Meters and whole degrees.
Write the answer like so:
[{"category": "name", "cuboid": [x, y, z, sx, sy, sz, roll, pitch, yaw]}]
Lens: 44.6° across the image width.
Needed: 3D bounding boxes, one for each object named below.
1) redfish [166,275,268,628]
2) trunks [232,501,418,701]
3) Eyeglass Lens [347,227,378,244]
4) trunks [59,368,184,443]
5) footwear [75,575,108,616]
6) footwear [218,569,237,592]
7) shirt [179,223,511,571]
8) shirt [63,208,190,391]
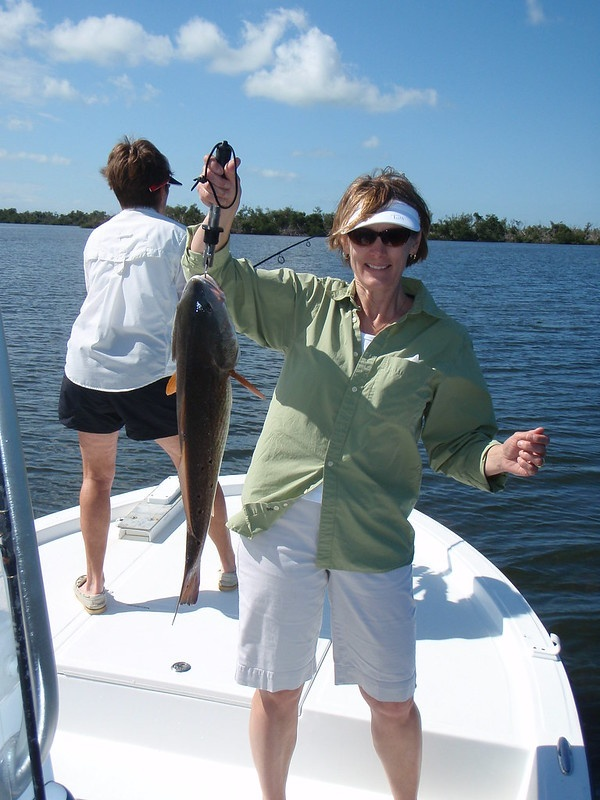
[{"category": "redfish", "cuboid": [-0.278, 0.167, 2.221, 0.326, 0.945, 0.264, 7, 12, 18]}, {"category": "trunks", "cuboid": [0.072, 0.622, 2.233, 0.556, 0.614, 0.216, 1, 16, 5]}, {"category": "Eyeglass Lens", "cuboid": [0.201, -0.516, 2.325, 0.065, 0.060, 0.021, 6, 35, 18]}, {"category": "trunks", "cuboid": [-0.838, 0.084, 3.460, 0.577, 0.288, 0.376, 6, -15, -2]}, {"category": "footwear", "cuboid": [-0.969, 0.915, 3.403, 0.095, 0.084, 0.225, -5, 21, -24]}, {"category": "footwear", "cuboid": [-0.354, 0.900, 3.628, 0.088, 0.077, 0.105, -1, -1, 1]}, {"category": "shirt", "cuboid": [0.106, 0.025, 2.376, 1.315, 0.921, 0.382, 11, -3, 17]}, {"category": "shirt", "cuboid": [-0.784, -0.444, 3.282, 0.457, 0.784, 0.360, 6, 17, 24]}]
